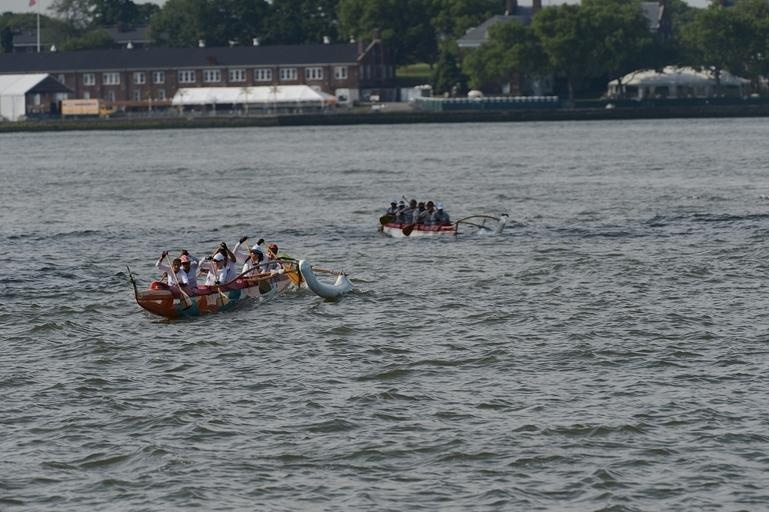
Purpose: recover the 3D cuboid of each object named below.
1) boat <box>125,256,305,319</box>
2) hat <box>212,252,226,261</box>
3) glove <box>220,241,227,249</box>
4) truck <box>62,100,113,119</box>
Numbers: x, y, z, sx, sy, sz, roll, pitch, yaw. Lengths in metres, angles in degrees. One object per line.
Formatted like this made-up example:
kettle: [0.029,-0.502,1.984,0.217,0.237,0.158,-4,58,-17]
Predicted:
boat: [-12.329,2.607,128.085,9.370,2.651,4.947,-13,12,-20]
hat: [-12.034,0.070,127.483,0.839,0.512,1.258,9,10,9]
glove: [-11.882,-0.805,129.547,0.635,0.199,0.449,33,14,-28]
truck: [-37.113,-18.380,218.117,6.945,2.447,2.347,1,3,-6]
